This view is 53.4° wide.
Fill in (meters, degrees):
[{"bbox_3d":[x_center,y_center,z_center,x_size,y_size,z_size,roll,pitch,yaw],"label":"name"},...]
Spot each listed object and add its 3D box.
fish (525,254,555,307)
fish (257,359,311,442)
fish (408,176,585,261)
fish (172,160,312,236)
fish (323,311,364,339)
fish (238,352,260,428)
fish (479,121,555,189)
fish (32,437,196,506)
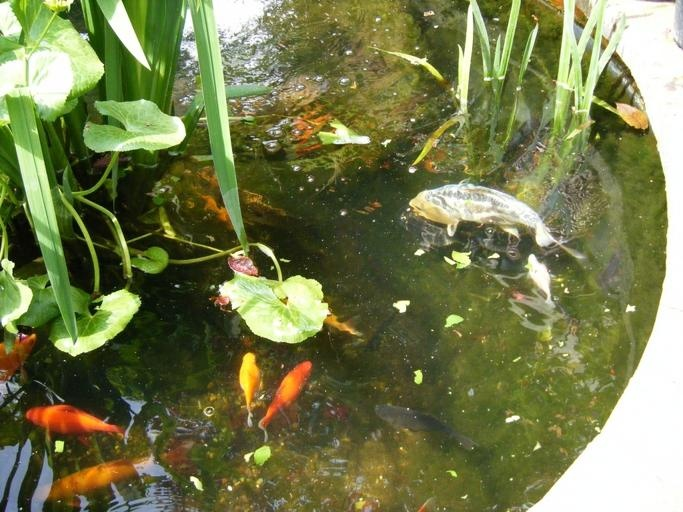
[{"bbox_3d":[0.640,0.079,2.237,0.050,0.071,0.165,-8,49,-6],"label":"fish"},{"bbox_3d":[-0.160,0.405,1.998,0.089,0.089,0.262,46,54,-8],"label":"fish"},{"bbox_3d":[0.536,-0.143,2.340,0.188,0.232,0.613,-28,26,-32],"label":"fish"},{"bbox_3d":[-0.388,-0.214,2.403,0.516,0.126,0.228,8,34,14],"label":"fish"},{"bbox_3d":[-0.001,0.213,2.162,0.164,0.045,0.049,32,59,24],"label":"fish"},{"bbox_3d":[-0.255,0.394,2.007,0.055,0.078,0.201,-5,68,14],"label":"fish"},{"bbox_3d":[0.665,-0.369,2.526,0.180,0.077,0.291,26,61,23],"label":"fish"},{"bbox_3d":[-0.646,0.608,1.940,0.462,0.104,0.129,-19,42,-9],"label":"fish"}]
